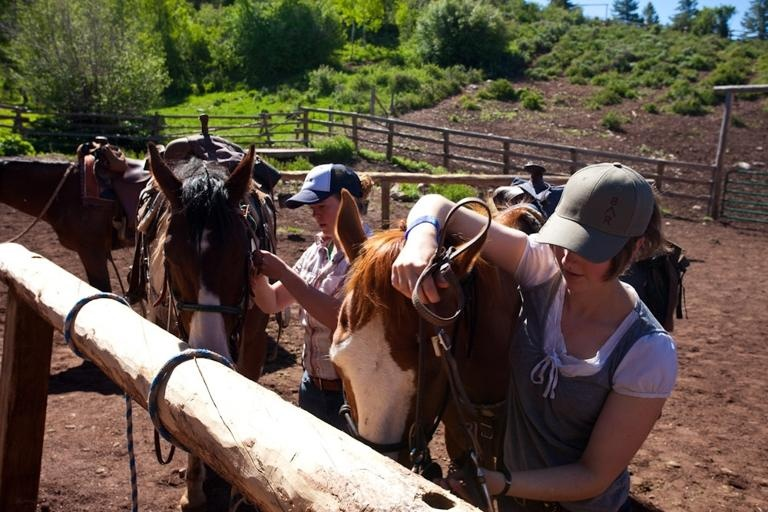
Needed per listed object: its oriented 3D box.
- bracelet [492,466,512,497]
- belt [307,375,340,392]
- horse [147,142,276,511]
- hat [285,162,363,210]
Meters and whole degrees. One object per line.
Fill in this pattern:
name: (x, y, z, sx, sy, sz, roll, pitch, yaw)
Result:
bracelet: (1.370, 2.521, 8.993, 0.185, 0.305, 0.312, 3, 38, 12)
belt: (-0.729, 1.583, 9.968, 0.264, 0.078, 0.280, 8, -1, 15)
horse: (-2.157, 0.159, 9.911, 1.547, 3.022, 1.332, 0, 13, -10)
hat: (-0.736, -0.890, 10.089, 0.744, 0.462, 0.505, -1, 3, -19)
